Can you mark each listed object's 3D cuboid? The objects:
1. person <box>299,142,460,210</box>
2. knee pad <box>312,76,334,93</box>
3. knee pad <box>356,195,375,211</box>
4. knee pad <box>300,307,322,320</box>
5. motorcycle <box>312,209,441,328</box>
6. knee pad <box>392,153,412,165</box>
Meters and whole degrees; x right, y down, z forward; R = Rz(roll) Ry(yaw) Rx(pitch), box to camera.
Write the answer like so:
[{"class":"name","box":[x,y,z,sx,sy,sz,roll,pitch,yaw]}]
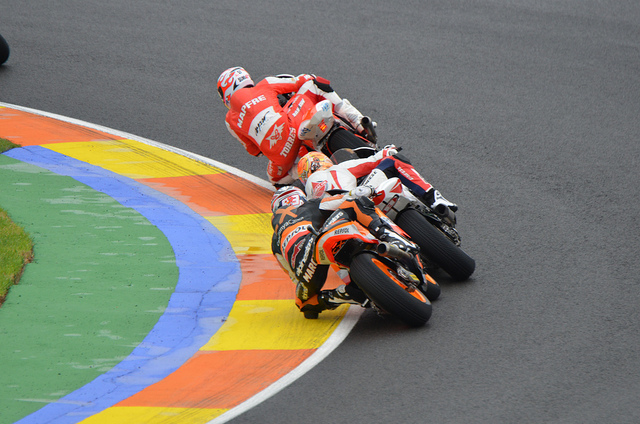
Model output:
[{"class":"person","box":[0.520,-0.370,8.008,1.077,0.592,1.618,2,14,-27]},{"class":"knee pad","box":[0.034,-1.769,9.693,0.301,0.069,0.174,34,57,-12]},{"class":"knee pad","box":[0.476,-0.085,7.114,0.209,0.053,0.119,28,43,-4]},{"class":"knee pad","box":[-0.090,1.077,7.321,0.205,0.080,0.157,0,7,7]},{"class":"motorcycle","box":[0.558,0.612,6.955,1.372,0.905,0.743,14,28,9]},{"class":"knee pad","box":[0.980,-0.613,8.090,0.247,0.115,0.179,-15,33,-42]}]
